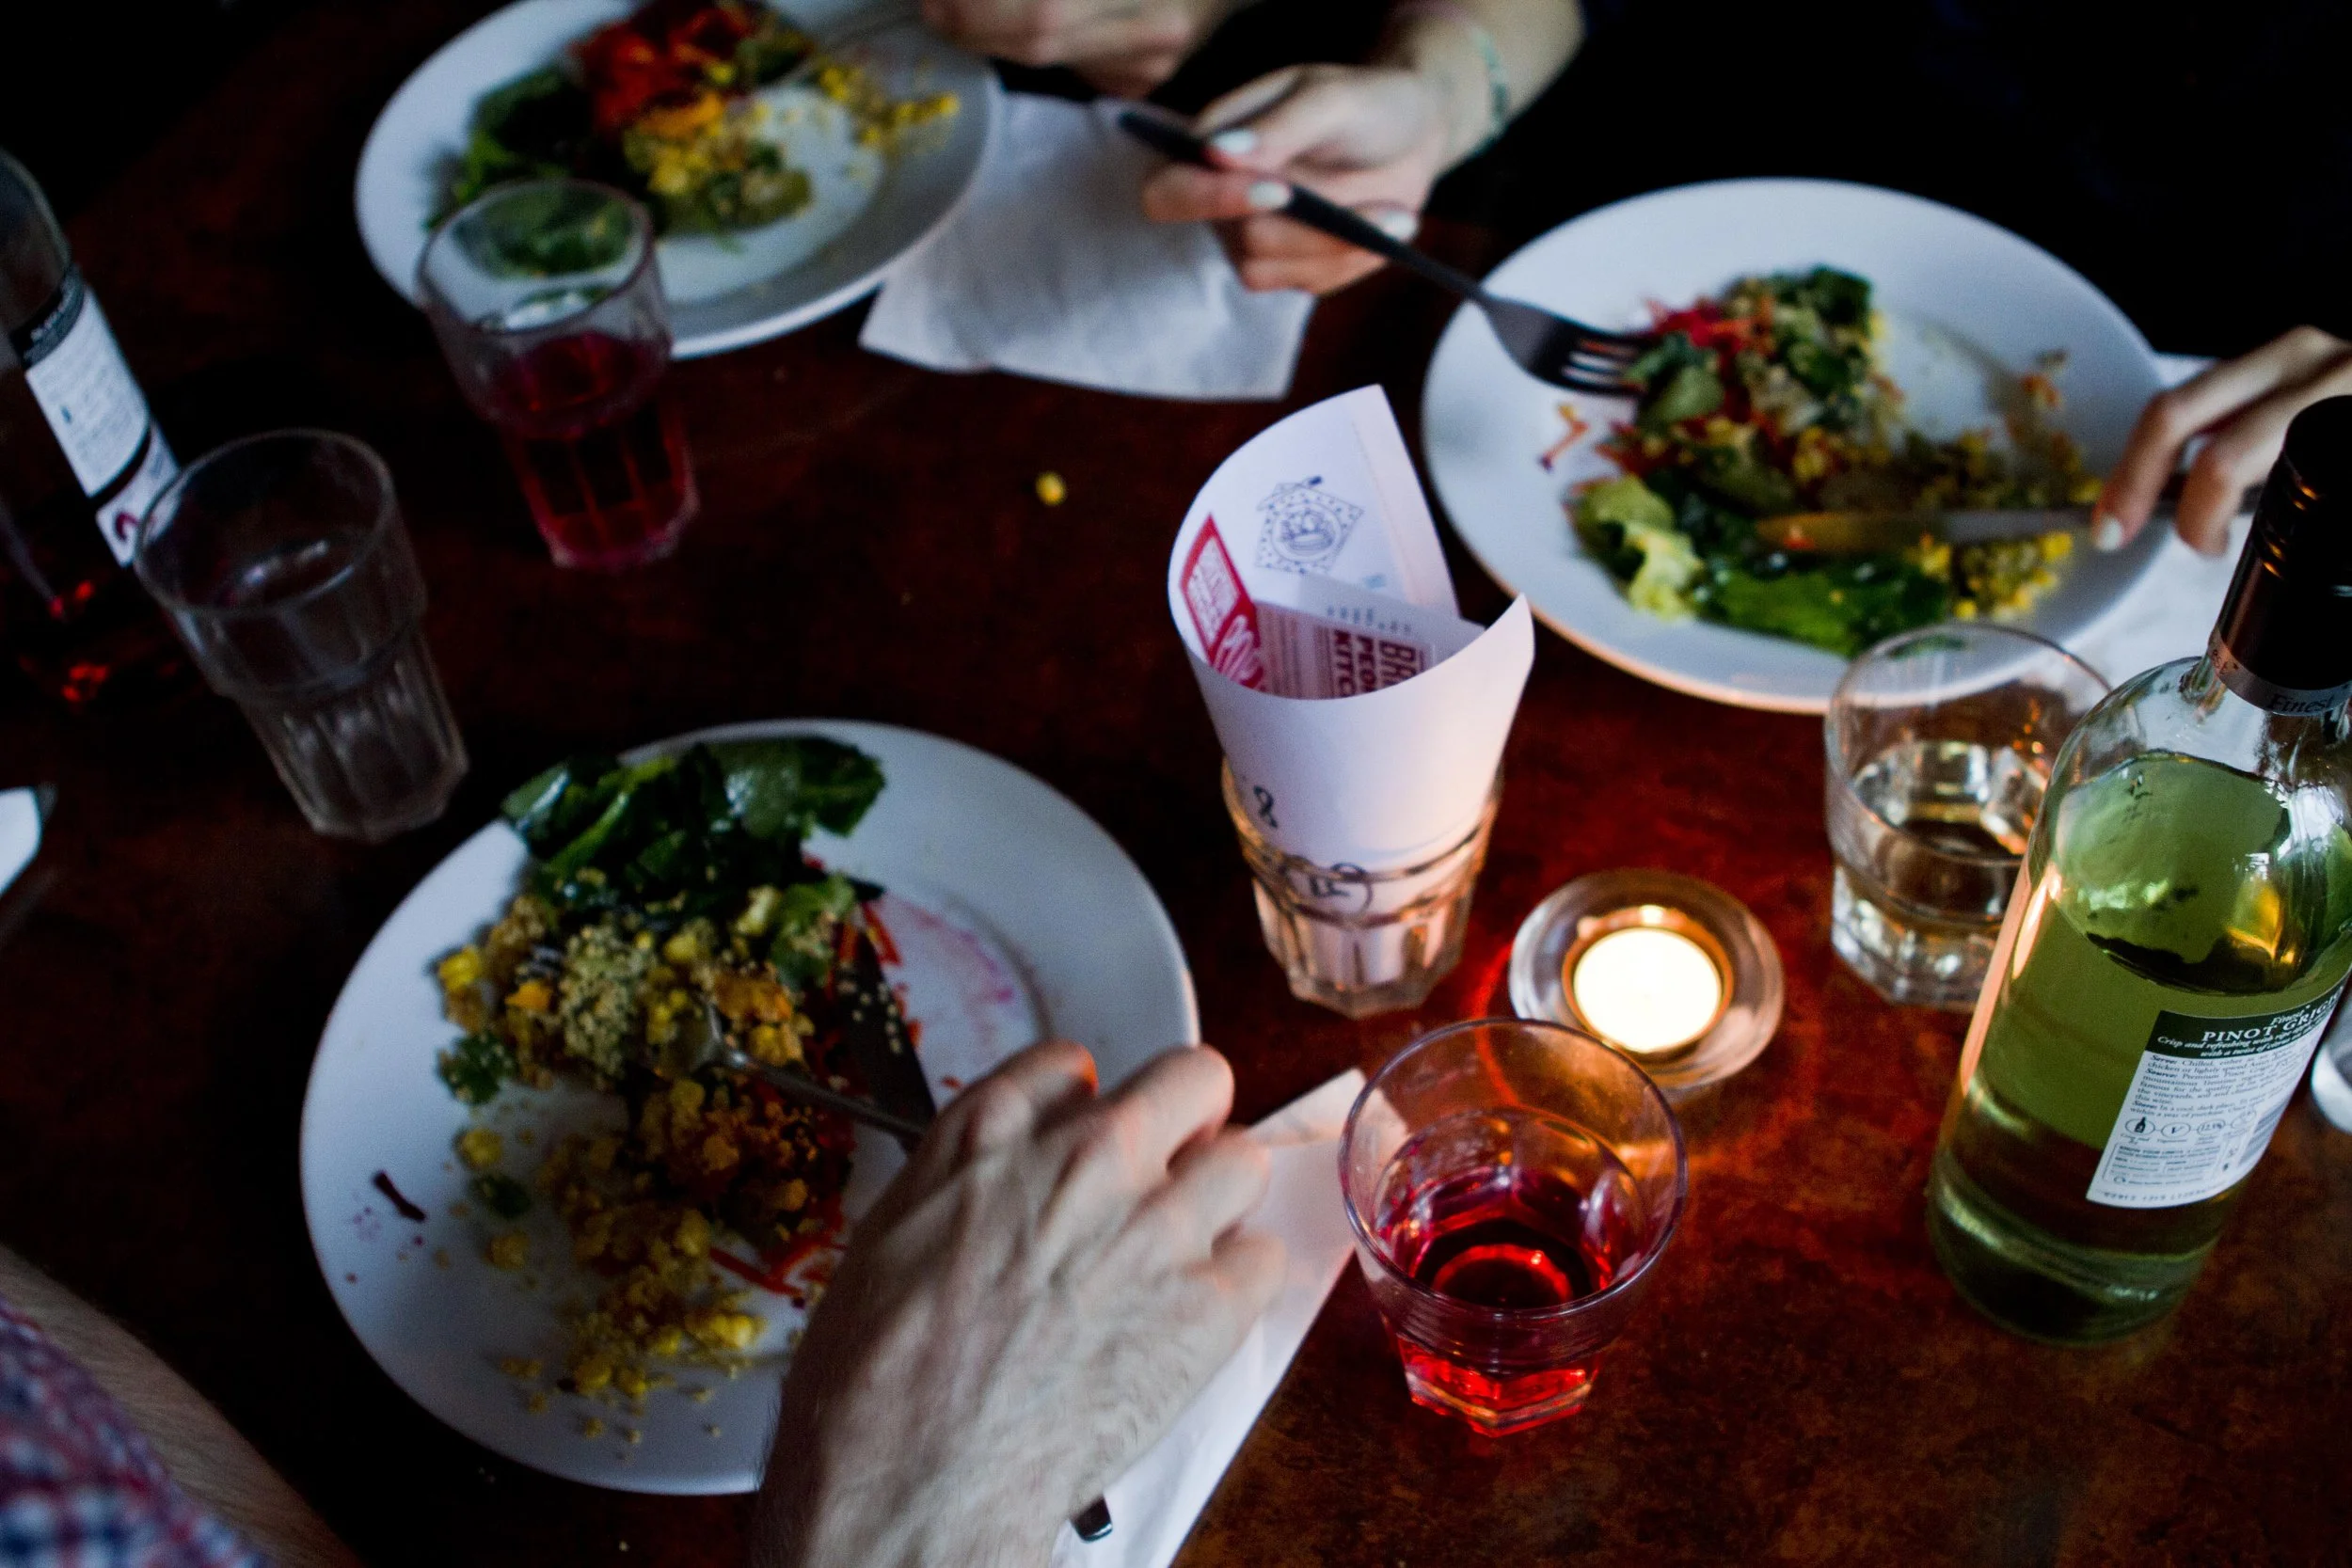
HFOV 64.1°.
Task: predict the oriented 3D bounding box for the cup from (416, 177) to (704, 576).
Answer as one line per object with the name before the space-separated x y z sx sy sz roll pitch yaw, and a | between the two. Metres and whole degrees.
cup | -0.434 -0.295 1.357 0.163 0.204 0.195 -22 49 -16

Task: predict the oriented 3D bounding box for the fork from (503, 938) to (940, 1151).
fork | -0.283 0.164 1.140 0.241 0.035 0.043 22 86 2

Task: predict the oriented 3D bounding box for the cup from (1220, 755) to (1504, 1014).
cup | 0.117 0.040 1.203 0.149 0.175 0.156 -3 53 4
